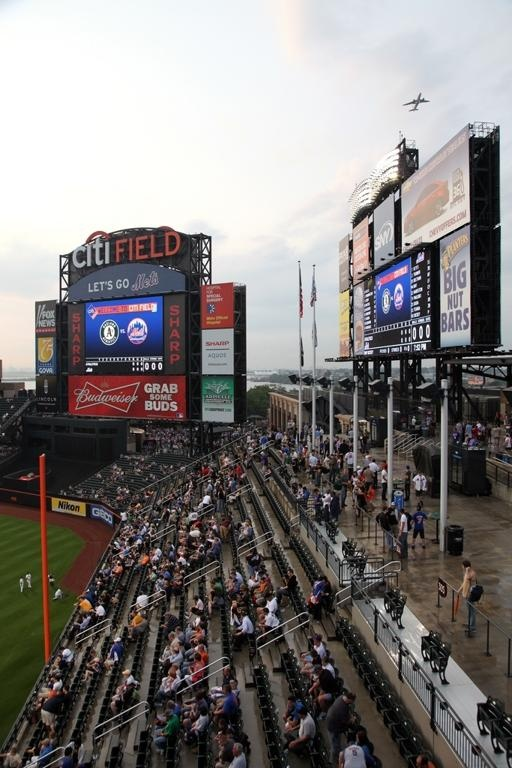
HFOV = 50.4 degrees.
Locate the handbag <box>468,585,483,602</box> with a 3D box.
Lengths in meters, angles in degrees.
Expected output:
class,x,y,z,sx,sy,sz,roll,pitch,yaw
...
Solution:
class,x,y,z,sx,sy,sz,roll,pitch,yaw
handbag,4.301,4.095,10.525,0.230,0.375,0.502,-7,1,24
